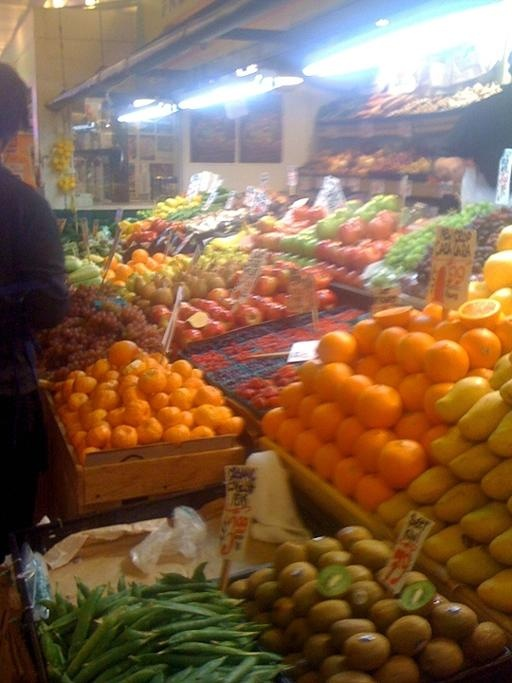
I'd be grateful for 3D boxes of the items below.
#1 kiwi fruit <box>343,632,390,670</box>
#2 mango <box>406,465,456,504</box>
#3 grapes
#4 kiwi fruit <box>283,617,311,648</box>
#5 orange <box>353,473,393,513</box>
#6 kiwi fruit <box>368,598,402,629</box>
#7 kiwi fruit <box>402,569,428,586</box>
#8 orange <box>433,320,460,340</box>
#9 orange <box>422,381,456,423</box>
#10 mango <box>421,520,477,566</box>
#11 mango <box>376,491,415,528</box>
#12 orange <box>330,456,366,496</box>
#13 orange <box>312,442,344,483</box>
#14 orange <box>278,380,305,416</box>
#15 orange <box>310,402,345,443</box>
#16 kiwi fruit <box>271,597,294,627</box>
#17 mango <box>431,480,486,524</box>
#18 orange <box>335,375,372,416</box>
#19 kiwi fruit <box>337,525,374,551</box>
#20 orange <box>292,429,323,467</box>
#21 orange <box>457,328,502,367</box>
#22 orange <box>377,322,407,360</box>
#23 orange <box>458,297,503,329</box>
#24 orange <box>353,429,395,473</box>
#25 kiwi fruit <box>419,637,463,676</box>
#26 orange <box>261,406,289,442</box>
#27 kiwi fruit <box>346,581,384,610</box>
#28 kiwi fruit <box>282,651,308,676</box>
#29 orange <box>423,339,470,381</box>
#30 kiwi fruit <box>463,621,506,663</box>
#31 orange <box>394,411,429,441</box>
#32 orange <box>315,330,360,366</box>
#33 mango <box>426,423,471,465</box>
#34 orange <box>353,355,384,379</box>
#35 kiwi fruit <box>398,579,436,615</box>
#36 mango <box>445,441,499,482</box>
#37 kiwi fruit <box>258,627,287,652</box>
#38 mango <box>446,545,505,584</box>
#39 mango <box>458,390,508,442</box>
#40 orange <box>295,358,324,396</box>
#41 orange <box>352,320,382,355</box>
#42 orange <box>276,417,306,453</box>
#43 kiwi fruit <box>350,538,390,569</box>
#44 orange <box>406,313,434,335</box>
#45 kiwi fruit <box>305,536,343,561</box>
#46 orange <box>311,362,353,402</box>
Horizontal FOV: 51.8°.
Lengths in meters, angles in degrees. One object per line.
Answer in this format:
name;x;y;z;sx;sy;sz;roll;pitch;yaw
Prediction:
kiwi fruit;0.199;0.560;0.946;0.077;0.030;0.062;-14;20;-42
mango;0.425;0.346;1.312;0.128;0.065;0.063;-31;11;-10
grapes;-0.898;-0.056;2.895;0.613;0.207;0.580;-21;44;-20
kiwi fruit;0.083;0.591;1.077;0.049;0.043;0.060;-4;-5;3
orange;0.313;0.396;1.401;0.096;0.084;0.090;1;3;13
kiwi fruit;0.250;0.522;1.024;0.040;0.036;0.051;12;21;35
kiwi fruit;0.327;0.482;1.082;0.029;0.023;0.027;-9;10;-3
orange;0.586;-0.033;1.609;0.063;0.060;0.072;20;39;23
orange;0.483;0.156;1.431;0.107;0.108;0.104;9;15;44
mango;0.436;0.453;1.190;0.107;0.050;0.052;-20;4;-35
mango;0.348;0.419;1.306;0.085;0.065;0.068;-34;54;-11
orange;0.260;0.386;1.551;0.100;0.093;0.095;15;-33;15
orange;0.204;0.378;1.608;0.103;0.105;0.096;0;-7;-1
orange;0.131;0.206;1.911;0.117;0.122;0.109;7;-12;9
orange;0.224;0.254;1.671;0.123;0.123;0.115;3;-9;-6
kiwi fruit;0.057;0.575;1.119;0.054;0.057;0.051;11;-13;-4
mango;0.470;0.371;1.214;0.128;0.067;0.067;-30;48;-14
orange;0.283;0.152;1.618;0.123;0.125;0.115;12;6;0
kiwi fruit;0.241;0.477;1.281;0.059;0.029;0.048;0;2;30
orange;0.164;0.345;1.712;0.107;0.110;0.100;1;-13;16
orange;0.642;0.022;1.563;0.115;0.102;0.125;35;16;7
orange;0.421;0.003;1.701;0.112;0.117;0.104;5;4;6
orange;0.674;-0.090;1.599;0.112;0.065;0.108;-32;31;-7
orange;0.316;0.297;1.464;0.120;0.125;0.114;6;-3;-18
kiwi fruit;0.337;0.577;0.955;0.074;0.045;0.051;-6;15;-31
orange;0.062;0.300;1.934;0.121;0.126;0.112;11;8;0
kiwi fruit;0.222;0.520;1.079;0.054;0.047;0.046;-3;-14;-2
kiwi fruit;0.078;0.644;1.047;0.046;0.041;0.044;10;4;20
orange;0.527;0.056;1.537;0.147;0.099;0.144;6;18;27
kiwi fruit;0.424;0.561;0.975;0.054;0.038;0.069;1;21;34
orange;0.438;0.241;1.476;0.081;0.069;0.075;7;6;-15
orange;0.274;0.025;1.824;0.126;0.130;0.115;3;-20;4
mango;0.480;0.252;1.307;0.095;0.096;0.043;50;9;31
orange;0.379;0.098;1.799;0.089;0.070;0.073;-27;-26;22
kiwi fruit;0.314;0.499;1.034;0.061;0.042;0.081;8;14;25
mango;0.496;0.282;1.218;0.048;0.097;0.069;50;3;-45
kiwi fruit;0.037;0.629;1.105;0.043;0.046;0.040;19;-34;3
mango;0.459;0.473;1.119;0.100;0.052;0.058;-11;-8;-1
mango;0.535;0.177;1.231;0.140;0.065;0.075;-43;-1;-8
orange;0.174;0.134;1.847;0.115;0.114;0.106;3;1;-4
orange;0.381;-0.016;1.835;0.122;0.126;0.113;4;-3;-6
orange;0.112;0.319;1.823;0.109;0.112;0.102;4;-9;1
kiwi fruit;0.256;0.476;1.185;0.064;0.045;0.046;-2;35;24
orange;0.547;-0.061;1.753;0.067;0.060;0.079;-9;-14;42
kiwi fruit;0.159;0.487;1.247;0.055;0.049;0.053;2;-14;21
orange;0.237;0.138;1.746;0.135;0.136;0.128;9;-13;-18
